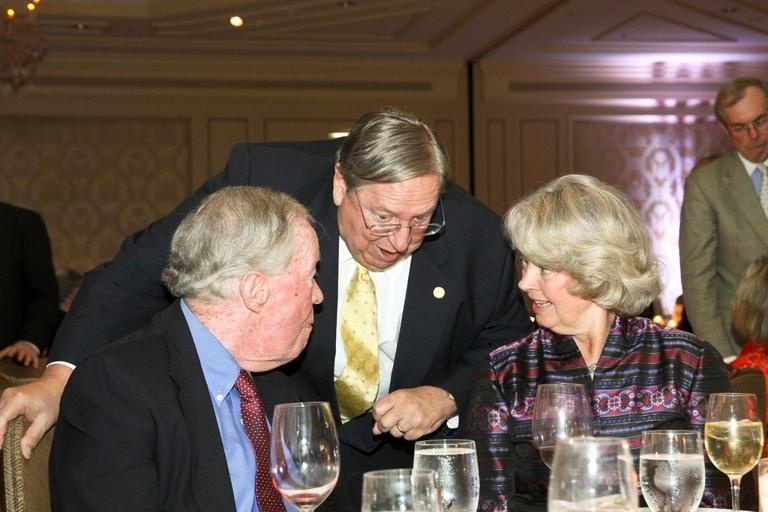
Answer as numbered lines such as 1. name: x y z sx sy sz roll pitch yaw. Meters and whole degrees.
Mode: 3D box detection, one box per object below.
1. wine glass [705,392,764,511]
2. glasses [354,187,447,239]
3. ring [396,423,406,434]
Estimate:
1. wine glass: 1.073 0.587 2.397 0.171 0.343 0.167 -5 -14 22
2. glasses: 0.102 -0.137 3.050 0.194 0.167 0.437 -12 -18 41
3. ring: 0.060 0.612 2.813 0.034 0.013 0.027 54 -12 -24
